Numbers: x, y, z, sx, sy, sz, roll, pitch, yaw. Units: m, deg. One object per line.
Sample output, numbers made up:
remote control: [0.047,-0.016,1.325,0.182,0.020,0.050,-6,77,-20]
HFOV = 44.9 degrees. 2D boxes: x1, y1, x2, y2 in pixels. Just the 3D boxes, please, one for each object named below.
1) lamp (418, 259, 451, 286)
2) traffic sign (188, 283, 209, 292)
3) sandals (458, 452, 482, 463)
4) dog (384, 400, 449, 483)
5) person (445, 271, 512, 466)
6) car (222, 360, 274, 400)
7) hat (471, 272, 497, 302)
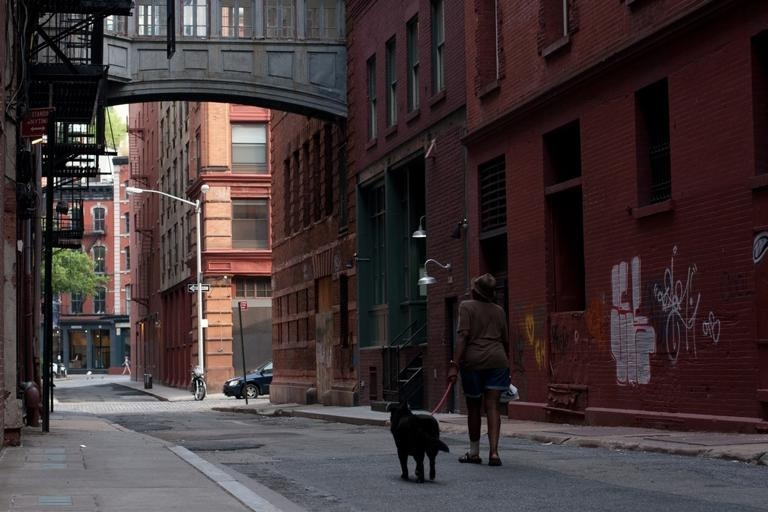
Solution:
lamp: [1.252,0.460,25.585,0.947,0.695,0.568,3,-6,-32]
traffic sign: [-8.789,1.548,44.029,1.041,0.460,0.243,3,-5,-18]
sandals: [1.315,3.091,14.208,0.330,0.152,0.143,2,0,41]
dog: [0.444,2.583,12.881,0.769,1.085,1.212,0,-10,0]
person: [1.443,1.693,13.806,0.847,2.812,0.551,0,-9,0]
car: [-6.071,5.693,42.243,2.404,1.205,1.355,1,-6,-15]
hat: [1.481,0.511,14.000,0.364,0.421,0.159,-19,-9,-39]
